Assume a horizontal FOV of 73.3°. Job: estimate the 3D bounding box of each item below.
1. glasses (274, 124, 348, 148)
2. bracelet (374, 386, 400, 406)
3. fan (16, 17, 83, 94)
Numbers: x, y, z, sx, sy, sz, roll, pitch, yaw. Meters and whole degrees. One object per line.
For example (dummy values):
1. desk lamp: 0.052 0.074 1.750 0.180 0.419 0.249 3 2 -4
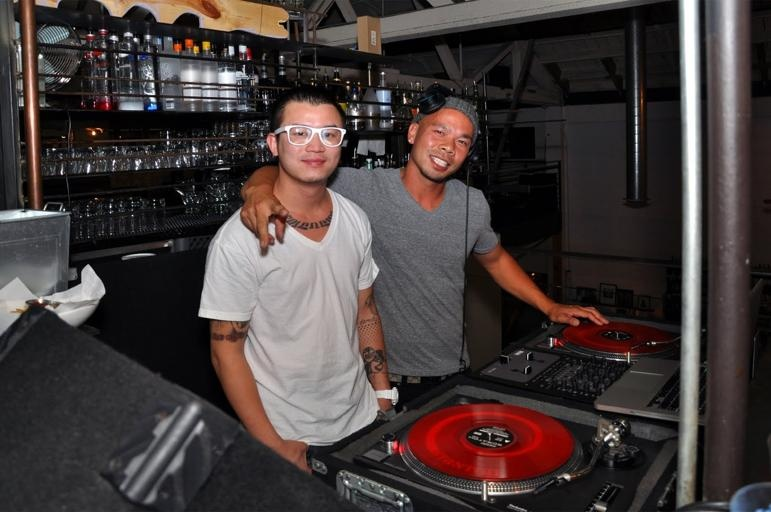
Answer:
1. glasses: -0.218 -0.343 1.505 0.204 0.067 0.085 -5 12 -10
2. bracelet: 0.009 0.460 1.754 0.079 0.049 0.078 0 -5 14
3. fan: -1.537 -0.954 2.442 0.204 0.341 0.616 -10 13 -28
